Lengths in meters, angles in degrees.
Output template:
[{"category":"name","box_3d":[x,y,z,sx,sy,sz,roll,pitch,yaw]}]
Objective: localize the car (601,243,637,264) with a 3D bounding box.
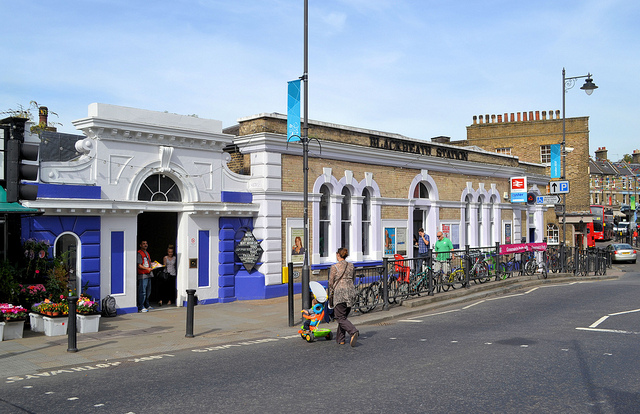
[{"category":"car","box_3d":[22.015,3.442,49.108,1.586,1.136,3.656,-2,2,11]}]

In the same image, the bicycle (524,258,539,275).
[{"category":"bicycle","box_3d":[9.840,2.740,31.092,0.327,0.687,1.207,2,5,33]}]

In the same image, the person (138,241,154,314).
[{"category":"person","box_3d":[-6.097,2.393,23.320,0.511,2.382,0.704,0,4,-1]}]

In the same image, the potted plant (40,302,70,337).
[{"category":"potted plant","box_3d":[-7.786,3.275,19.563,0.779,0.913,0.520,-1,4,-10]}]

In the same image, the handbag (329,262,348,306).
[{"category":"handbag","box_3d":[0.544,2.169,18.829,0.334,1.256,0.211,26,-14,12]}]

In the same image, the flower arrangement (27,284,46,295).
[{"category":"flower arrangement","box_3d":[-8.570,2.486,20.218,0.291,0.169,0.286,0,0,8]}]

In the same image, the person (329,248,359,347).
[{"category":"person","box_3d":[0.697,2.665,18.680,0.629,2.259,1.084,-2,5,-18]}]

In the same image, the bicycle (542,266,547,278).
[{"category":"bicycle","box_3d":[10.571,3.043,31.476,0.171,0.457,0.550,1,4,18]}]

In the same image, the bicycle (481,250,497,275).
[{"category":"bicycle","box_3d":[7.241,2.415,28.848,0.656,1.012,0.634,-5,12,-25]}]

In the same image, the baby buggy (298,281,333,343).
[{"category":"baby buggy","box_3d":[-0.082,2.957,19.179,0.915,1.679,0.652,-4,6,-41]}]

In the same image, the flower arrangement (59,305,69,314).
[{"category":"flower arrangement","box_3d":[-7.482,2.960,19.480,0.305,0.189,0.304,2,-16,14]}]

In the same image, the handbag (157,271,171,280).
[{"category":"handbag","box_3d":[-5.704,2.503,24.465,0.532,0.327,0.411,0,4,-3]}]

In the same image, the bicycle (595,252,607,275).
[{"category":"bicycle","box_3d":[15.826,3.080,37.635,0.459,1.160,2.340,2,4,28]}]

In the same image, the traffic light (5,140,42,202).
[{"category":"traffic light","box_3d":[-7.883,-0.969,17.700,0.788,1.639,1.143,-2,5,-25]}]

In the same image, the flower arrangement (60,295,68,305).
[{"category":"flower arrangement","box_3d":[-7.608,2.751,19.899,0.240,0.216,0.233,-6,1,-12]}]

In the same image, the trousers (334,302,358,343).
[{"category":"trousers","box_3d":[0.713,3.221,18.657,0.491,1.153,0.927,-2,4,-19]}]

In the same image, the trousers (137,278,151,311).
[{"category":"trousers","box_3d":[-6.128,2.991,23.289,0.448,1.068,0.371,-2,5,-16]}]

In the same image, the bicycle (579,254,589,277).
[{"category":"bicycle","box_3d":[13.783,3.014,34.919,0.362,0.984,1.297,2,4,25]}]

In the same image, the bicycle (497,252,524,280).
[{"category":"bicycle","box_3d":[8.521,2.637,29.878,1.667,0.965,0.835,1,-1,-45]}]

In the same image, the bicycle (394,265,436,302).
[{"category":"bicycle","box_3d":[3.292,2.837,24.642,0.873,1.004,1.820,-8,-5,43]}]

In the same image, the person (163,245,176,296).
[{"category":"person","box_3d":[-5.494,2.332,24.545,0.422,1.875,0.511,-1,5,-14]}]

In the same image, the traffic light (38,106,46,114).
[{"category":"traffic light","box_3d":[-13.160,-4.558,31.720,0.315,0.301,0.489,-2,4,-24]}]

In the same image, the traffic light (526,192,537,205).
[{"category":"traffic light","box_3d":[11.836,-0.499,37.494,0.193,0.506,0.516,7,-5,-39]}]
